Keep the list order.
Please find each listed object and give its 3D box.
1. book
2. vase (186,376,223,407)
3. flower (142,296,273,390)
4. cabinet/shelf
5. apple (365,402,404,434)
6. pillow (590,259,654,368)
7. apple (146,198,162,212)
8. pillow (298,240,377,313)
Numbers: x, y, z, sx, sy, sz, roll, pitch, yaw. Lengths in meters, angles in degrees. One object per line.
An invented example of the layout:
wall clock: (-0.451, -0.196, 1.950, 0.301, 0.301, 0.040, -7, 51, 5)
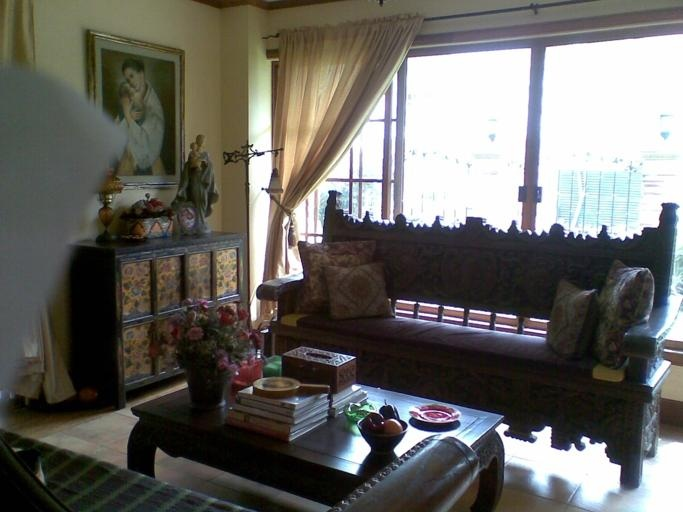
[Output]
book: (-0.152, 0.575, 2.221, 0.221, 0.087, 0.356, 5, 8, 37)
vase: (-0.546, 0.525, 2.324, 0.135, 0.115, 0.133, 2, -6, -16)
flower: (-0.567, 0.369, 2.445, 0.394, 0.289, 0.348, -11, -2, -26)
cabinet/shelf: (-1.141, 0.358, 3.790, 0.361, 0.939, 1.068, 4, 6, 33)
apple: (0.146, 0.571, 2.024, 0.076, 0.052, 0.110, 1, 2, 9)
pillow: (1.339, 0.258, 2.754, 0.244, 0.488, 0.510, 0, 3, 13)
apple: (-1.229, -0.331, 3.749, 0.075, 0.059, 0.097, 4, 4, -10)
pillow: (0.011, 0.193, 3.665, 0.607, 0.573, 0.231, 1, -9, -23)
